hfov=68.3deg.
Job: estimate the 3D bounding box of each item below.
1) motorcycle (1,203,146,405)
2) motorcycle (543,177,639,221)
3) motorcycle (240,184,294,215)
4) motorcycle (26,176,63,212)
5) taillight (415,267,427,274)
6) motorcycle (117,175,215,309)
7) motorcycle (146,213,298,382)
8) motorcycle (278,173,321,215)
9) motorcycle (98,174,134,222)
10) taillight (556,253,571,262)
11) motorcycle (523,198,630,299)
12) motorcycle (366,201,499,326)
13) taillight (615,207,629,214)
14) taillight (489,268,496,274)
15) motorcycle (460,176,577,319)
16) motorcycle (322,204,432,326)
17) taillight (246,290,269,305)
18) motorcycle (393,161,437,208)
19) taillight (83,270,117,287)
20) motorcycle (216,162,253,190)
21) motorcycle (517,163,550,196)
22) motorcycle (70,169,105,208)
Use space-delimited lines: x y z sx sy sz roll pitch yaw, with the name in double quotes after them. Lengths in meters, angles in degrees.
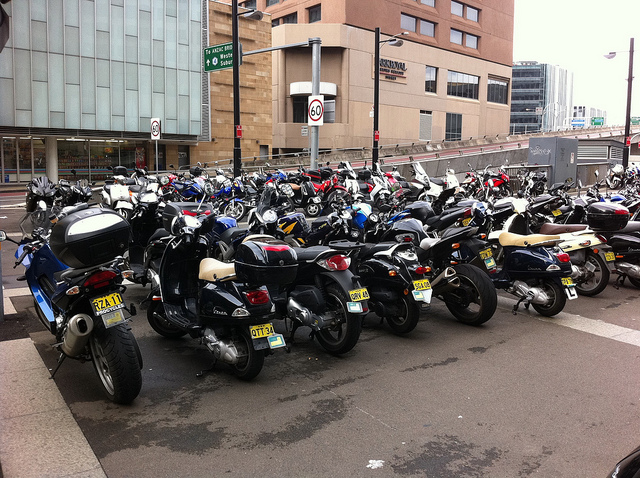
-2.420 0.620 4.820 0.666 1.944 1.578 -8 13 -38 "motorcycle"
6.114 -1.175 10.809 1.792 1.161 1.057 13 2 10 "motorcycle"
-1.629 -1.084 15.132 1.958 1.213 1.246 2 9 5 "motorcycle"
-5.109 -0.855 8.936 0.551 0.793 1.371 -6 9 -36 "motorcycle"
1.335 0.412 6.228 0.154 0.089 0.030 2 10 7 "taillight"
-1.988 0.304 6.299 0.995 1.374 2.092 13 30 -20 "motorcycle"
-1.290 0.630 5.682 2.518 1.744 0.831 5 3 45 "motorcycle"
-0.556 -1.356 14.767 1.605 1.075 0.802 11 24 43 "motorcycle"
-3.850 -0.810 8.880 0.493 0.829 1.415 5 14 -37 "motorcycle"
3.768 0.284 7.264 0.114 0.062 0.161 -4 9 -25 "taillight"
4.366 0.141 8.874 2.490 1.715 1.453 4 6 33 "motorcycle"
1.801 0.321 7.570 1.203 1.483 2.320 -4 16 -36 "motorcycle"
5.621 -0.532 8.739 0.349 0.132 0.138 -7 13 -39 "taillight"
2.693 0.517 7.353 0.106 0.109 0.029 -15 59 -16 "taillight"
3.417 0.198 8.392 1.336 1.863 2.658 -7 19 -33 "motorcycle"
0.622 0.353 7.337 0.887 1.603 2.814 -8 10 -29 "motorcycle"
-0.662 0.615 5.012 0.251 0.144 0.103 -7 13 -38 "taillight"
2.291 -1.418 12.199 0.617 1.165 1.970 -1 8 -31 "motorcycle"
-2.052 0.359 4.392 0.250 0.145 0.099 -13 21 -15 "taillight"
-3.192 -2.199 16.864 1.476 0.964 0.980 -2 12 -1 "motorcycle"
6.913 -1.903 15.331 1.468 0.994 0.783 -15 17 -34 "motorcycle"
-4.573 -0.911 8.878 0.489 0.625 1.143 21 1 -41 "motorcycle"
